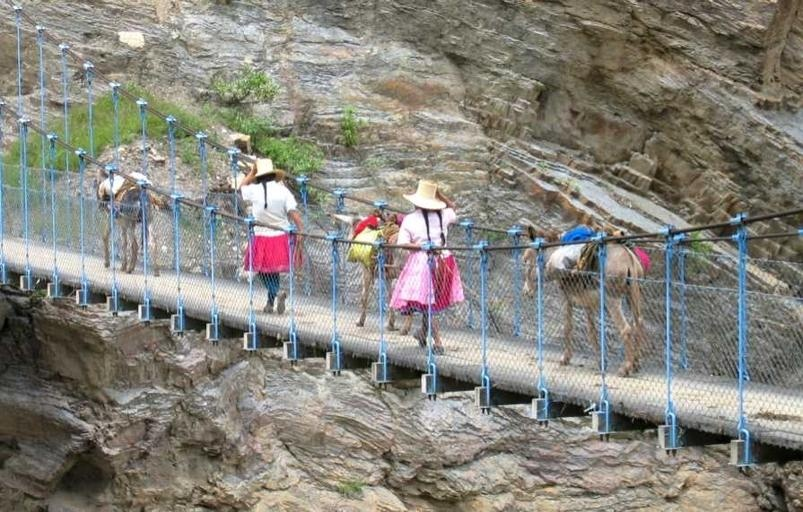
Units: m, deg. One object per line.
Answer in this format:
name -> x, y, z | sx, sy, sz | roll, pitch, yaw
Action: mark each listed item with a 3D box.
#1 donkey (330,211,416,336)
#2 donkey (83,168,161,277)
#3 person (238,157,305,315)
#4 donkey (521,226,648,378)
donkey -> -0.563, 0.451, 37.295 | 1.409, 2.652, 1.726 | 1, 1, -3
donkey -> -5.691, -0.679, 38.542 | 1.923, 1.601, 0.885 | 2, -3, 41
person -> -2.507, -0.389, 37.367 | 1.387, 3.217, 1.112 | -1, -3, 28
donkey -> 3.606, 0.919, 35.839 | 2.187, 2.687, 0.932 | 4, -2, 10
